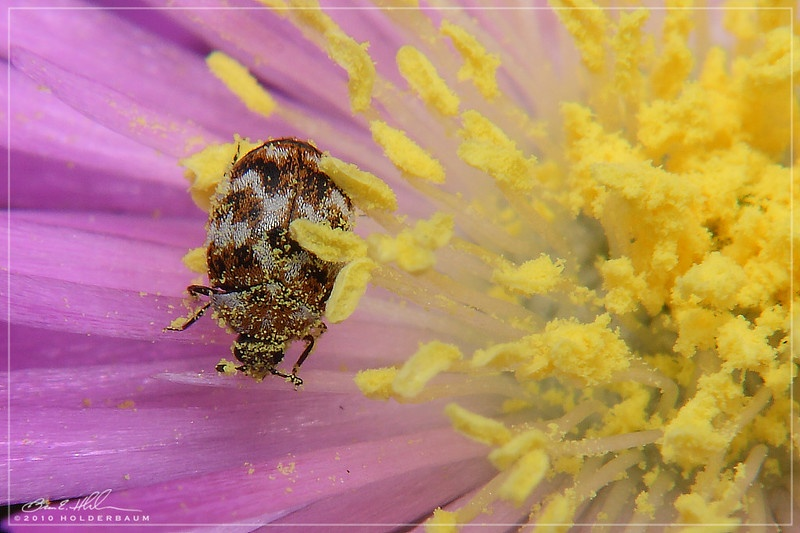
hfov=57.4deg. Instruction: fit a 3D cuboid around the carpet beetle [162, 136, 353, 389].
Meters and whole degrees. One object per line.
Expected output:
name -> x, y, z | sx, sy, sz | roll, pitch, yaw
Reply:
carpet beetle -> -0.215, -0.020, 1.209 | 0.203, 0.392, 0.169 | 0, -16, 38
